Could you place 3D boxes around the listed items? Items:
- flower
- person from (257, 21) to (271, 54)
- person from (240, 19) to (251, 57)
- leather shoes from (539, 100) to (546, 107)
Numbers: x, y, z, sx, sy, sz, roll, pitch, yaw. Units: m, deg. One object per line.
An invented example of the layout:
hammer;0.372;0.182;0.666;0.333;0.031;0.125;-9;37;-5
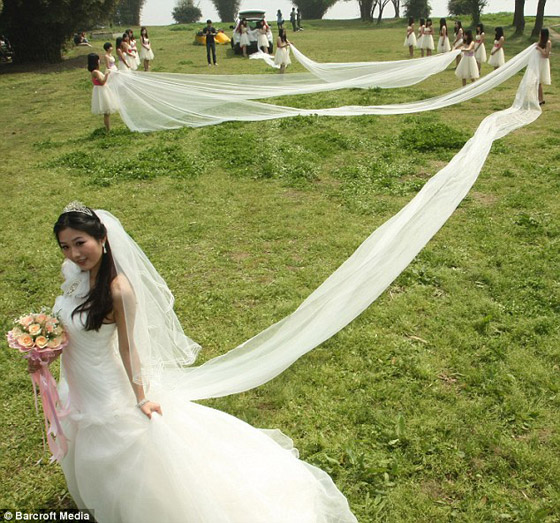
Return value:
flower;-2.000;0.636;5.427;0.444;0.485;0.423;-27;66;-37
person;-0.714;-8.965;26.642;0.393;1.228;0.768;1;17;3
person;-1.446;-8.957;26.955;0.377;1.322;0.671;-1;18;-4
leather shoes;6.385;-3.869;16.358;0.086;0.257;0.107;-12;48;21
